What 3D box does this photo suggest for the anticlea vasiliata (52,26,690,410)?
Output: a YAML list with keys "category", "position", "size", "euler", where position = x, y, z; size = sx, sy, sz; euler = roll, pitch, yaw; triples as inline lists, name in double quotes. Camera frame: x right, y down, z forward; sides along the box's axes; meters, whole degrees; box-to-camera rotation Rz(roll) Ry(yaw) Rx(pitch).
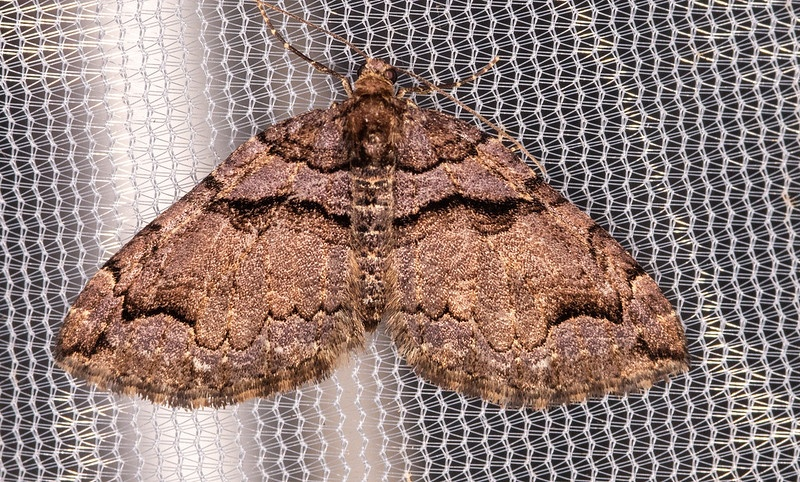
- category: "anticlea vasiliata"
  position: [-0.127, -0.052, 4.561]
  size: [2.586, 1.561, 0.208]
  euler: [0, -4, 0]
